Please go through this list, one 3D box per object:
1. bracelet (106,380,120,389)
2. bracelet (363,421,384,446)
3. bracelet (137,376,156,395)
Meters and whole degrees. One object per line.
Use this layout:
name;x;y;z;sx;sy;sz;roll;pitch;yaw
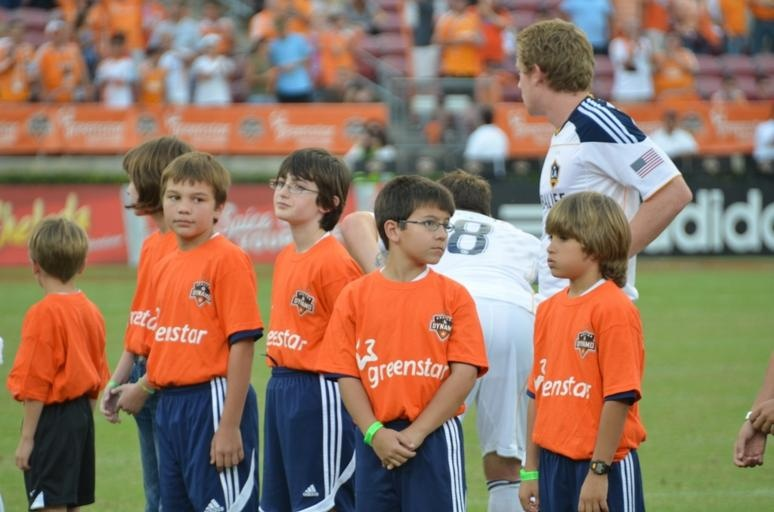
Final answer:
bracelet;-3.409;1.609;17.873;0.106;0.117;0.114;-9;-10;23
bracelet;-0.166;2.087;16.966;0.187;0.296;0.272;30;2;17
bracelet;-2.955;1.606;17.656;0.108;0.211;0.233;-32;-17;-15
